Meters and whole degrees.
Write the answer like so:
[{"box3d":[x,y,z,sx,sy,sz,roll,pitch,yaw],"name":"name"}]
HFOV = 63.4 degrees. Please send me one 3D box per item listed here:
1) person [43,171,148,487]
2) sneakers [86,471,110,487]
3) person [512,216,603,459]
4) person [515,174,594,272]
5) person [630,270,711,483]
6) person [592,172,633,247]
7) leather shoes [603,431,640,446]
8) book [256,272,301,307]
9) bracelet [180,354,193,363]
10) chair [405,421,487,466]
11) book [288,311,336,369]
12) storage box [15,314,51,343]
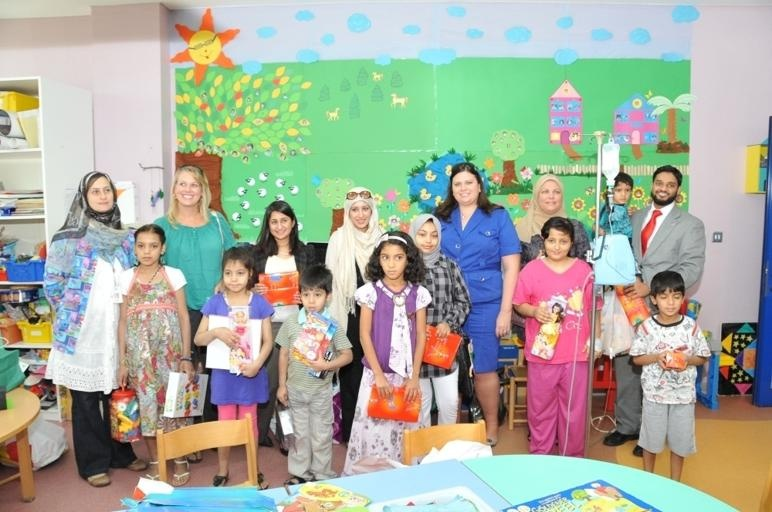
[{"box3d":[-2.219,0.552,4.719,0.659,2.342,0.369,-2,4,-23],"name":"person"},{"box3d":[-2.157,1.674,4.699,0.174,0.071,0.079,-7,-10,38],"name":"sneakers"},{"box3d":[1.248,0.751,4.679,0.569,1.495,0.300,0,4,12],"name":"person"},{"box3d":[1.385,-0.201,5.238,0.674,0.915,0.367,1,6,24],"name":"person"},{"box3d":[2.044,0.851,4.509,0.518,1.482,0.277,1,4,19],"name":"person"},{"box3d":[1.939,-0.280,5.264,0.282,0.733,0.282,-2,7,41],"name":"person"},{"box3d":[1.974,1.516,5.227,0.317,0.127,0.114,4,-4,-16],"name":"leather shoes"},{"box3d":[-0.829,0.310,4.847,0.440,0.288,0.229,0,8,-1],"name":"book"},{"box3d":[-1.523,0.781,4.770,0.070,0.050,0.078,-3,-3,16],"name":"bracelet"},{"box3d":[0.369,1.142,3.781,0.496,0.288,0.162,-1,4,-12],"name":"chair"},{"box3d":[-0.525,0.599,4.445,0.306,0.382,0.125,24,-6,5],"name":"book"},{"box3d":[-3.197,0.678,5.687,0.330,0.217,0.226,1,3,1],"name":"storage box"}]
